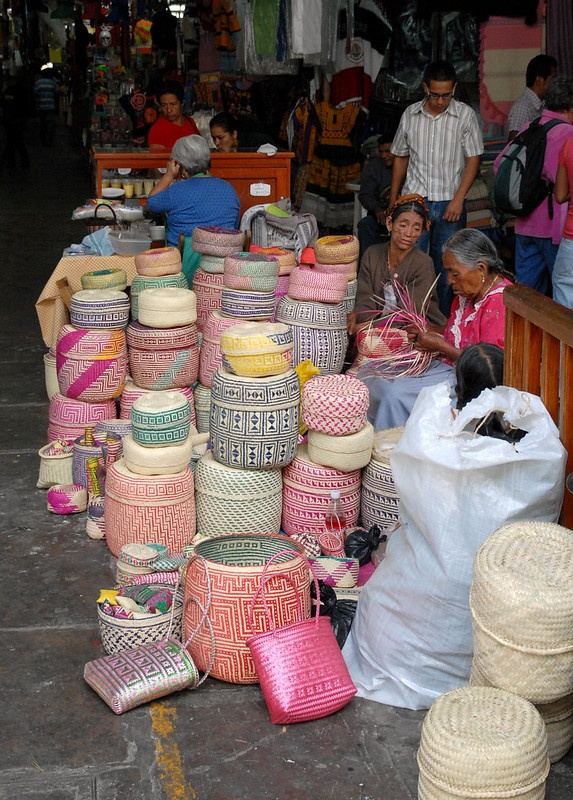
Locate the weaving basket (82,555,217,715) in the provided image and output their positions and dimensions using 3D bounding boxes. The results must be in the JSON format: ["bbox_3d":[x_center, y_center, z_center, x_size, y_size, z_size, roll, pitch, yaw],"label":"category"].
[{"bbox_3d":[-0.426,0.749,2.180,0.397,0.336,0.252,-10,17,-40],"label":"weaving basket"}]

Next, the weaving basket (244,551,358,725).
[{"bbox_3d":[0.055,0.739,2.015,0.277,0.380,0.187,-9,19,-29],"label":"weaving basket"}]

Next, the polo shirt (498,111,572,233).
[{"bbox_3d":[1.779,-1.581,4.846,0.363,0.913,0.648,-3,17,-13],"label":"polo shirt"}]

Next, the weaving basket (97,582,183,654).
[{"bbox_3d":[-0.494,0.722,2.367,0.290,0.155,0.273,0,0,-3],"label":"weaving basket"}]

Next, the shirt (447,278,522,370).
[{"bbox_3d":[0.917,-0.393,3.235,0.253,0.299,0.442,-9,22,-15],"label":"shirt"}]
